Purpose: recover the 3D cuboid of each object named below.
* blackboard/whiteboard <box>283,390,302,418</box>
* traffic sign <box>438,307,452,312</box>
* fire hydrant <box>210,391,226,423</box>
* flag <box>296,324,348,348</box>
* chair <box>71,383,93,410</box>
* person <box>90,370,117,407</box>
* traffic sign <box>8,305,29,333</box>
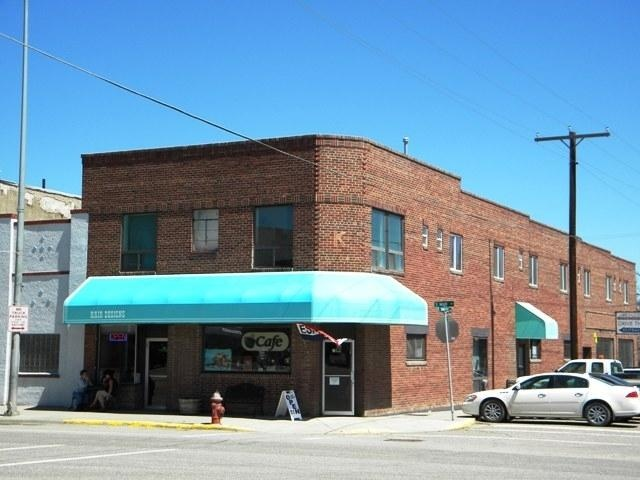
[{"bbox_3d":[-0.954,5.749,30.584,0.636,1.035,1.205,-2,0,-1],"label":"blackboard/whiteboard"},{"bbox_3d":[4.488,2.430,30.819,0.374,0.107,0.351,0,0,25],"label":"traffic sign"},{"bbox_3d":[-3.403,5.493,28.773,0.400,1.072,1.208,-2,0,-7],"label":"fire hydrant"},{"bbox_3d":[-0.009,3.370,31.009,2.799,0.372,0.990,19,-16,-29],"label":"flag"},{"bbox_3d":[-9.003,5.909,33.041,0.811,0.907,0.368,-1,0,-44],"label":"chair"},{"bbox_3d":[-8.218,5.651,32.917,0.923,1.426,1.524,-2,0,-4],"label":"person"},{"bbox_3d":[-10.874,2.802,31.300,0.652,0.985,0.361,-2,0,-27],"label":"traffic sign"}]
